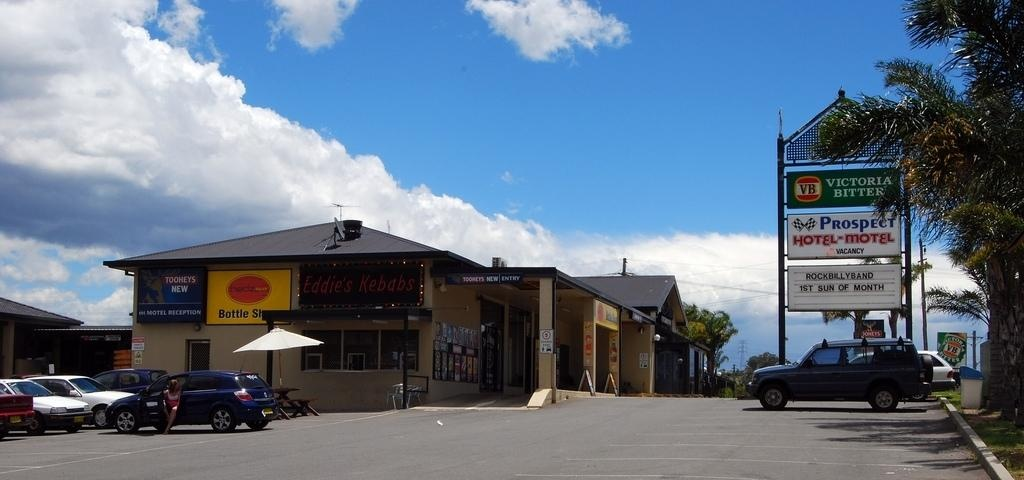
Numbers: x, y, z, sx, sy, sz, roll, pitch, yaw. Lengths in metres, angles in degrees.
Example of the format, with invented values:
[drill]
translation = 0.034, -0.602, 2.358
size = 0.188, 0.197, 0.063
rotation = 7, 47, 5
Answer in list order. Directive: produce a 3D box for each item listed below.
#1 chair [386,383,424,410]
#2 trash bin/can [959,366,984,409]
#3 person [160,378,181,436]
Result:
[chair]
translation = -5.577, 8.217, 46.063
size = 1.757, 1.203, 0.986
rotation = -1, 1, -9
[trash bin/can]
translation = 21.478, 6.820, 40.691
size = 0.824, 1.838, 1.289
rotation = 0, 2, 33
[person]
translation = -15.065, 7.288, 38.660
size = 0.789, 2.440, 0.646
rotation = -1, 2, -13
